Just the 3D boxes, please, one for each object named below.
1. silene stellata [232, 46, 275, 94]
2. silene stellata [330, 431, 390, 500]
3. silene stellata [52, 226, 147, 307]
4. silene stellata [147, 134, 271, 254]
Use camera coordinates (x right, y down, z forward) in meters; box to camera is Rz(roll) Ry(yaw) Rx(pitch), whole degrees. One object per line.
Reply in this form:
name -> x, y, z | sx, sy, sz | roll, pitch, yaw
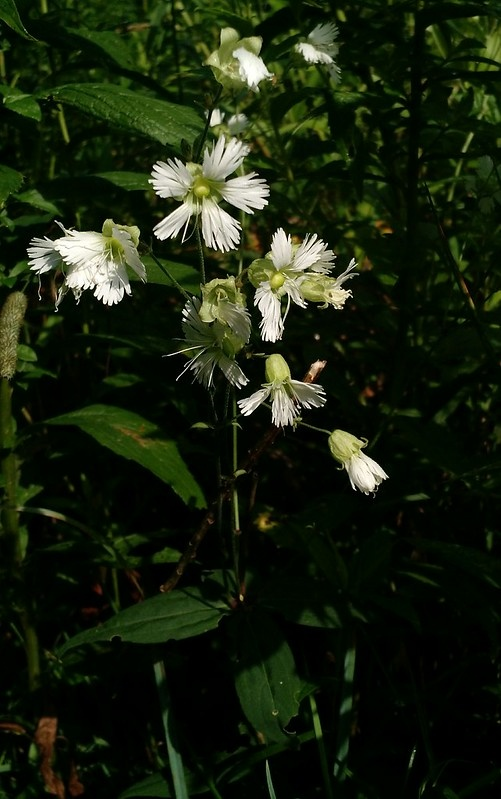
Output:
silene stellata -> -0.001, -0.444, 0.972 | 0.047, 0.052, 0.075 | 10, 22, 10
silene stellata -> 0.156, 0.087, 1.098 | 0.067, 0.045, 0.106 | -26, 61, -19
silene stellata -> -0.190, -0.188, 0.930 | 0.110, 0.109, 0.056 | 3, 25, 9
silene stellata -> -0.070, -0.276, 0.926 | 0.126, 0.054, 0.127 | -21, -8, 28
